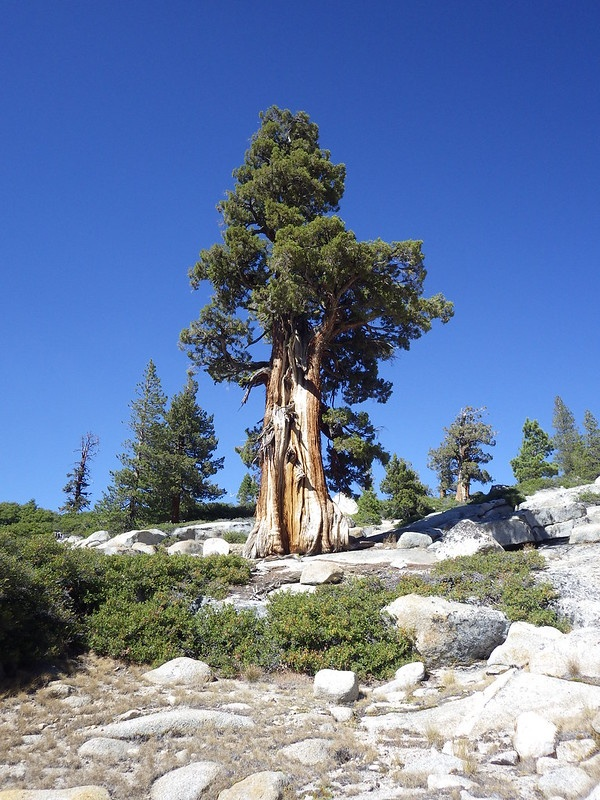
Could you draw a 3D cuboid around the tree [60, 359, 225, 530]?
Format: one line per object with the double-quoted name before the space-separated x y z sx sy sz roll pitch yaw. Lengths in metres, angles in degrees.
"tree" -7.093 3.682 34.510 6.649 10.059 6.869 4 -28 -3
